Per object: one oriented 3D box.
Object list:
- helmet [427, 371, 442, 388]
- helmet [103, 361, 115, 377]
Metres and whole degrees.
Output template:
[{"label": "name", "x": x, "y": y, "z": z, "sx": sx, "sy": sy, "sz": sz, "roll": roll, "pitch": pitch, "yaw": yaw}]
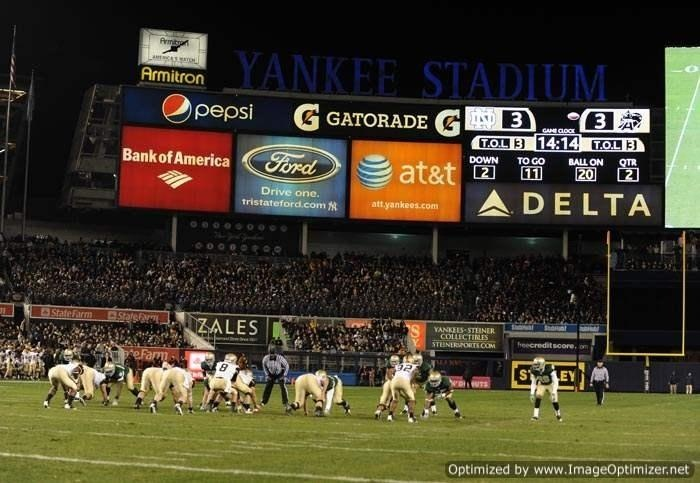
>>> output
[{"label": "helmet", "x": 3.588, "y": 5.815, "z": 53.042, "sx": 0.494, "sy": 0.511, "sz": 0.650, "roll": 1, "pitch": -15, "yaw": 11}, {"label": "helmet", "x": -10.235, "y": 5.429, "z": 53.739, "sx": 0.432, "sy": 0.495, "sz": 0.542, "roll": 5, "pitch": -2, "yaw": -11}]
